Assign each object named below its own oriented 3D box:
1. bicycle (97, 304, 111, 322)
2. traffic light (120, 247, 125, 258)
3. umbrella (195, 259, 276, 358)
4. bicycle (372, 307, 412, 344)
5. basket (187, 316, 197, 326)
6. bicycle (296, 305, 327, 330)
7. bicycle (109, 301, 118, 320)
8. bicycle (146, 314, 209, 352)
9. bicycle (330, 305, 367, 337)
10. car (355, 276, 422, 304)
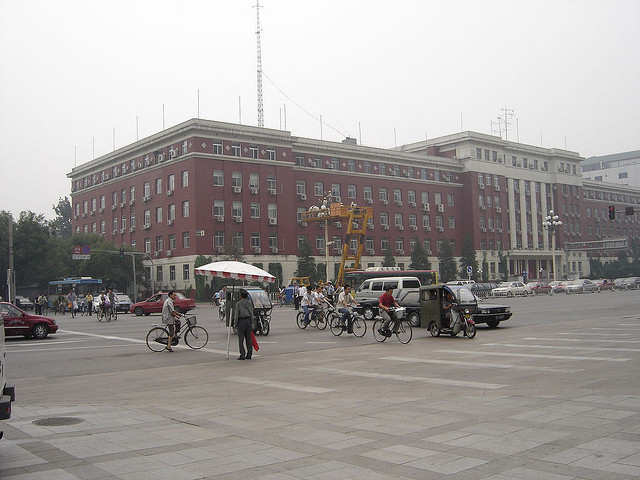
[{"bbox_3d":[-14.037,4.913,43.377,1.356,0.879,0.694,-6,-7,37],"label":"bicycle"},{"bbox_3d":[-17.924,1.206,59.846,0.178,0.894,0.954,-1,-8,-8],"label":"traffic light"},{"bbox_3d":[-3.398,2.604,26.558,3.255,3.711,3.348,8,-6,-20],"label":"umbrella"},{"bbox_3d":[2.494,2.990,23.002,0.816,1.181,1.877,4,-7,-38],"label":"bicycle"},{"bbox_3d":[-4.404,2.802,22.768,0.241,0.284,0.472,-4,-4,-4],"label":"basket"},{"bbox_3d":[-0.286,3.544,29.997,1.656,1.112,0.482,-10,-11,42],"label":"bicycle"},{"bbox_3d":[-13.869,4.734,44.359,0.336,1.300,2.453,0,-9,-14],"label":"bicycle"},{"bbox_3d":[-4.964,3.250,22.913,2.354,1.519,0.974,-2,5,-10],"label":"bicycle"},{"bbox_3d":[1.086,3.211,26.186,1.886,1.242,0.852,-3,4,41],"label":"bicycle"},{"bbox_3d":[3.231,2.488,31.371,2.389,1.433,2.933,0,-2,-5],"label":"car"}]
